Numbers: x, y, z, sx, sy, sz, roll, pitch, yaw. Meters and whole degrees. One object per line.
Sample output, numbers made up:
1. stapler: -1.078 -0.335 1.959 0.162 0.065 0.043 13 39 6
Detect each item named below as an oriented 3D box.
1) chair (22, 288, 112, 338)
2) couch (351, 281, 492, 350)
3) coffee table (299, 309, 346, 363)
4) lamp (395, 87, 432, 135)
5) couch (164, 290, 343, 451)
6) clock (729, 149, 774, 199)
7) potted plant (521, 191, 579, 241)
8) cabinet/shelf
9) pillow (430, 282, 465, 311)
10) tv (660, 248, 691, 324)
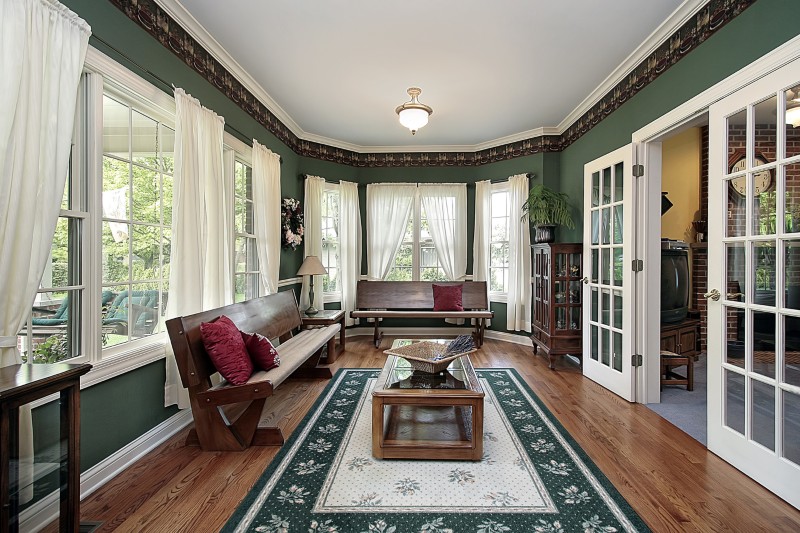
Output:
1. chair: -2.528 0.329 3.722 0.232 0.220 0.385 -1 -5 15
2. couch: 0.344 0.675 7.352 1.992 0.943 0.757 0 1 -2
3. coffee table: -1.050 0.974 6.687 0.508 0.656 0.949 0 -2 4
4. lamp: 0.147 -1.772 5.592 0.356 0.507 0.609 0 6 -1
5. couch: -1.277 0.923 5.345 0.964 1.160 2.812 -2 4 6
6. clock: 2.656 -0.691 3.730 0.059 0.250 0.250 2 12 -23
7. potted plant: 1.994 -0.711 6.788 0.642 0.797 0.782 -1 6 -1
8. cabinet/shelf: 2.001 0.463 6.340 0.498 1.561 0.871 1 6 6
9. pillow: 0.719 0.443 7.379 0.431 0.416 0.101 -3 -11 5
10. tv: 3.198 0.184 5.840 0.788 0.948 0.245 -6 9 -44
